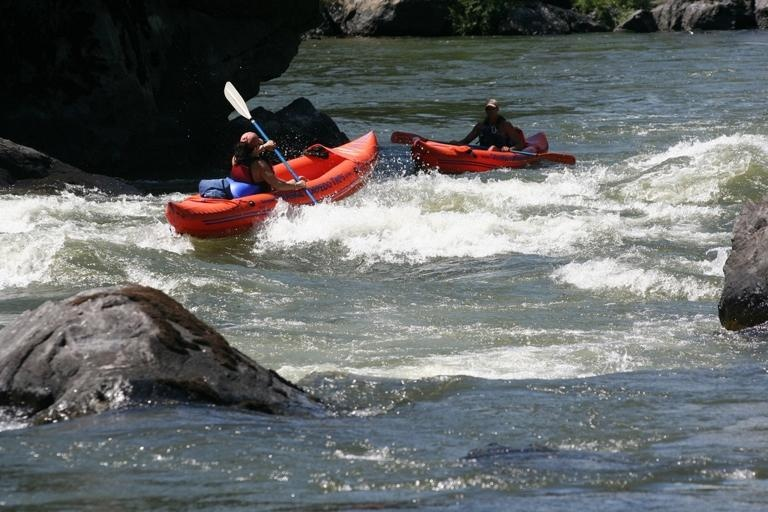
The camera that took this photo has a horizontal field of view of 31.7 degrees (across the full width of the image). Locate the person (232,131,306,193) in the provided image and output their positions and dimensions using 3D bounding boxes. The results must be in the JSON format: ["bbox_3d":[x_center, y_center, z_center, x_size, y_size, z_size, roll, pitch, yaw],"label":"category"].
[{"bbox_3d":[-2.007,-1.495,22.346,1.097,1.190,0.403,-13,25,-2],"label":"person"}]

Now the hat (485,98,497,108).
[{"bbox_3d":[1.995,-2.886,25.695,0.270,0.134,0.314,-1,-3,15],"label":"hat"}]

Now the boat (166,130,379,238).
[{"bbox_3d":[-1.692,-1.150,23.077,1.409,0.711,4.355,21,29,40],"label":"boat"}]
